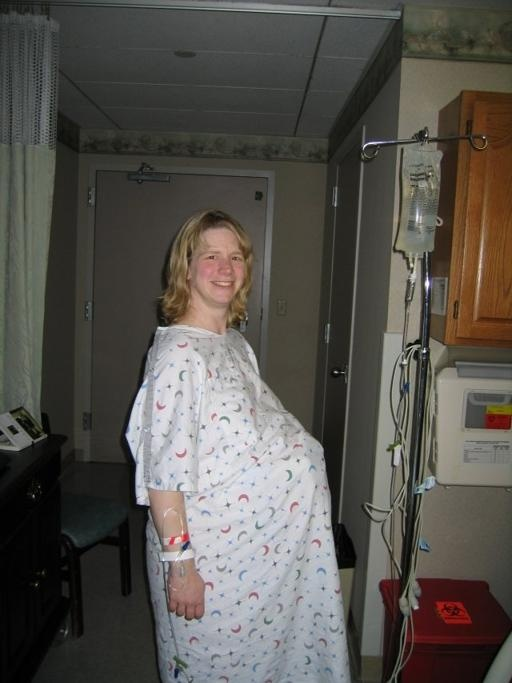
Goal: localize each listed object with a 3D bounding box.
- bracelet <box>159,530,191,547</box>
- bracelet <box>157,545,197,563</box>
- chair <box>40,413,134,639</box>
[{"bbox_3d":[-0.177,0.434,1.263,0.043,0.022,0.032,-11,-10,13],"label":"bracelet"},{"bbox_3d":[-0.181,0.477,1.286,0.055,0.019,0.050,-1,-6,-8],"label":"bracelet"},{"bbox_3d":[-0.745,0.698,2.197,0.381,0.734,0.437,8,13,30],"label":"chair"}]
